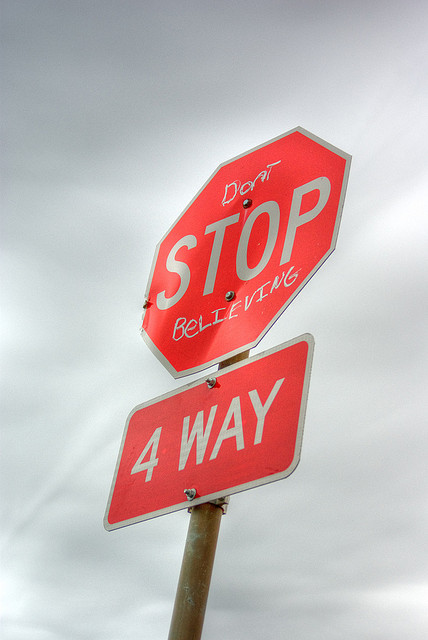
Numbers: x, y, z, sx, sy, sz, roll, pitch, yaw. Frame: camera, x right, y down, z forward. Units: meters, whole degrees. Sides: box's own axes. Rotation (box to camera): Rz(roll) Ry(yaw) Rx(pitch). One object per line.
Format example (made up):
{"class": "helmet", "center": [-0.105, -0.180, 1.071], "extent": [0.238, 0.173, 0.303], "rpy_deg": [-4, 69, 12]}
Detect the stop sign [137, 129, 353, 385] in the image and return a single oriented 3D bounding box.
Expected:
{"class": "stop sign", "center": [0.162, -0.254, 4.442], "extent": [1.136, 1.439, 0.240], "rpy_deg": [-10, -42, 35]}
